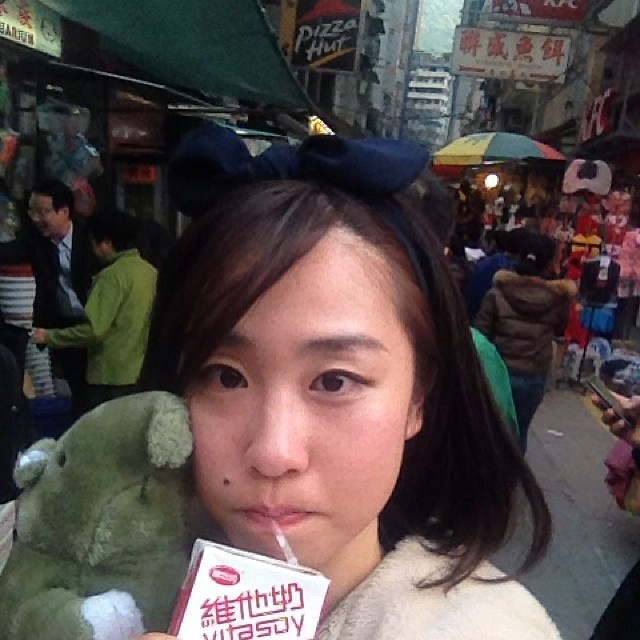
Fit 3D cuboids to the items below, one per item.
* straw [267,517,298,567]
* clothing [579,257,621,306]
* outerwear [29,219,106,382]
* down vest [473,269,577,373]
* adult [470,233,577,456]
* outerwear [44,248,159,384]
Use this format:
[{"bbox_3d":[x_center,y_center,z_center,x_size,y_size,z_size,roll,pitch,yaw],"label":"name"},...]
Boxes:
[{"bbox_3d":[-0.073,0.447,1.140,0.029,0.146,0.016,-19,34,9],"label":"straw"},{"bbox_3d":[4.265,-0.599,8.685,0.706,0.317,1.018,7,-20,29],"label":"clothing"},{"bbox_3d":[-1.945,-0.200,4.441,0.683,1.071,0.314,0,5,-10],"label":"outerwear"},{"bbox_3d":[1.874,-0.020,5.197,0.811,0.934,0.509,2,30,13],"label":"down vest"},{"bbox_3d":[1.849,0.387,5.505,0.797,2.535,0.788,8,24,11],"label":"adult"},{"bbox_3d":[-1.557,-0.104,4.290,0.568,0.990,0.997,8,15,7],"label":"outerwear"}]
